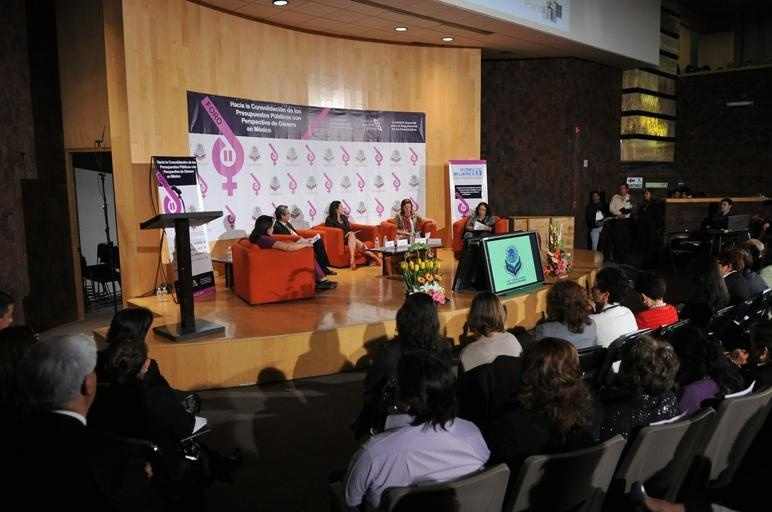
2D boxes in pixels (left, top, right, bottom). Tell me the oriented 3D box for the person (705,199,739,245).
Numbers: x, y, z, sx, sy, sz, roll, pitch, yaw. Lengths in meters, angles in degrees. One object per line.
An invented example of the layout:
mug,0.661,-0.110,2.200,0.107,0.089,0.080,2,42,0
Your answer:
person,6.448,-0.511,10.370,0.350,1.191,0.496,5,6,-28

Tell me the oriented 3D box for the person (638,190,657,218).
person,5.497,-1.119,11.410,0.271,0.555,0.778,1,8,26

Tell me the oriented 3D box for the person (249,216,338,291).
person,-1.250,-0.095,7.358,1.134,1.295,0.851,-9,15,-27

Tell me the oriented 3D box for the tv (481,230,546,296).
tv,1.582,0.068,6.789,0.929,0.703,0.110,-9,-2,-33

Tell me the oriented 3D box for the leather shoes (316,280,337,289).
leather shoes,-0.811,0.381,7.417,0.284,0.122,0.104,-4,8,-30

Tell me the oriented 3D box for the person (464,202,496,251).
person,1.560,-0.424,9.167,0.417,1.125,0.604,4,-9,22

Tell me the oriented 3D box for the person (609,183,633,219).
person,5.096,-1.196,11.710,0.447,0.819,0.439,6,-2,17

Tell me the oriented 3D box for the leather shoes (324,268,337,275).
leather shoes,-0.853,0.236,8.301,0.187,0.080,0.059,-4,11,-15
